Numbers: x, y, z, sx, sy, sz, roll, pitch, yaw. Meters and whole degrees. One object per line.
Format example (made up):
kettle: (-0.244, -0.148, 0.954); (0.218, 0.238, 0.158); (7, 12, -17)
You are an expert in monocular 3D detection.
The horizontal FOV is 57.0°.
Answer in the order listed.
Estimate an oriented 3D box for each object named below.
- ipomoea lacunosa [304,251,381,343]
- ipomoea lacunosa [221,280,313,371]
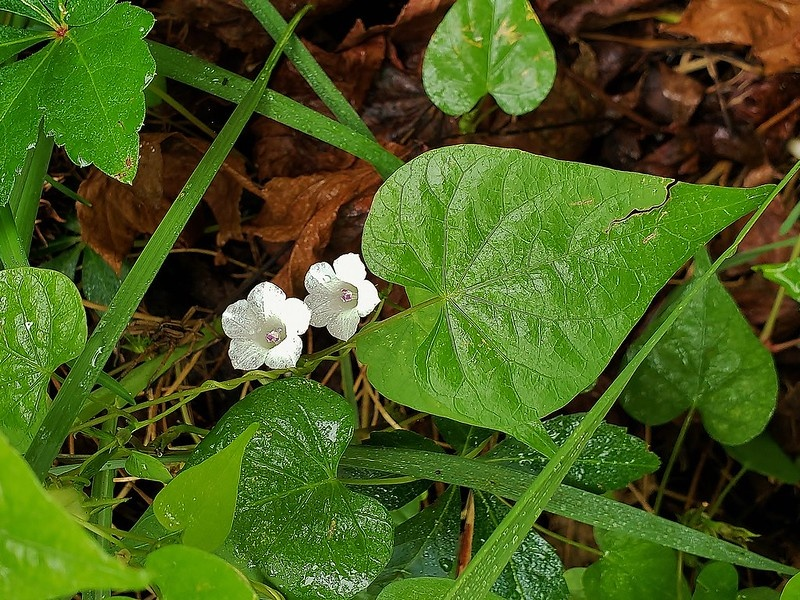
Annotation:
ipomoea lacunosa: (-0.092, -0.005, 1.103); (0.097, 0.101, 0.103); (-17, 42, -17)
ipomoea lacunosa: (-0.203, 0.044, 1.106); (0.134, 0.094, 0.104); (10, 41, 14)
